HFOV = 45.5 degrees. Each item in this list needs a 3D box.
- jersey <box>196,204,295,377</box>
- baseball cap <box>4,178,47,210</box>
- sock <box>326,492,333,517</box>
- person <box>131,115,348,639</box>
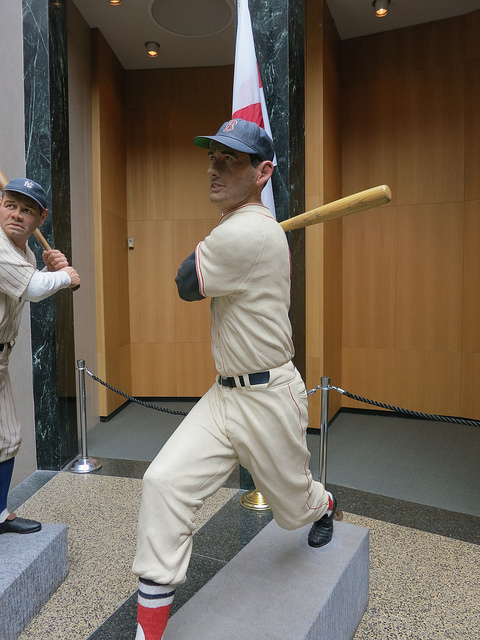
[{"bbox_3d":[0.030,-0.102,1.887,0.284,0.587,0.434,4,11,8],"label":"jersey"},{"bbox_3d":[-0.859,-0.514,2.284,0.169,0.108,0.123,-1,2,-35],"label":"baseball cap"},{"bbox_3d":[0.337,0.689,2.110,0.035,0.074,0.039,8,-14,-16],"label":"sock"},{"bbox_3d":[-0.023,0.119,1.776,0.695,1.480,0.263,0,2,-35],"label":"person"}]
